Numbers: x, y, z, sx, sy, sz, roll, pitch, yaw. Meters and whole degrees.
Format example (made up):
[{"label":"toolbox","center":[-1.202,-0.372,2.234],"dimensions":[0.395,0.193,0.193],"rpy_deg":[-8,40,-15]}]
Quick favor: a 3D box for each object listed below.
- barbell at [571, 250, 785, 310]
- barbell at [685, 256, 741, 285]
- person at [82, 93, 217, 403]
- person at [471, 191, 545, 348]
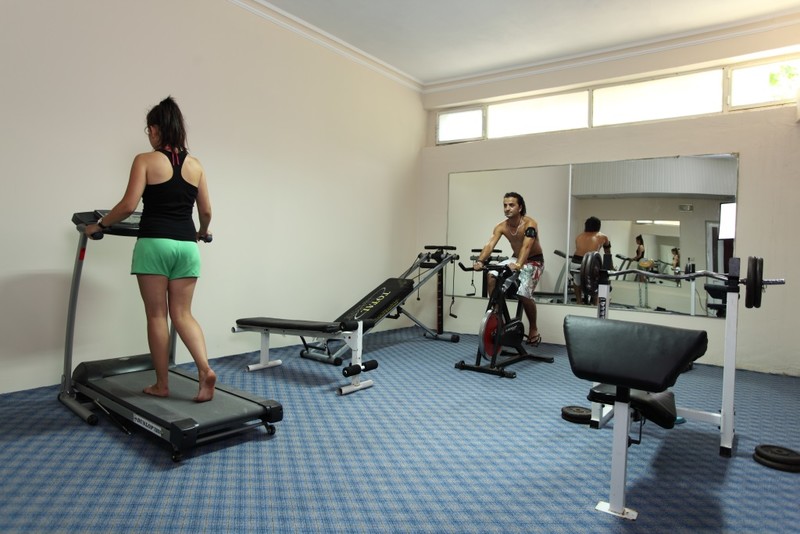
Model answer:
[{"label":"barbell","center":[2.244,0.085,4.475],"dimensions":[1.061,0.378,1.098],"rpy_deg":[0,-1,25]},{"label":"barbell","center":[3.108,0.037,5.611],"dimensions":[0.382,0.207,0.289],"rpy_deg":[5,2,35]},{"label":"person","center":[-1.841,-0.169,4.511],"dimensions":[1.012,2.353,0.775],"rpy_deg":[4,-8,-44]},{"label":"person","center":[1.380,-0.070,6.978],"dimensions":[0.843,2.020,0.552],"rpy_deg":[0,1,-41]}]
